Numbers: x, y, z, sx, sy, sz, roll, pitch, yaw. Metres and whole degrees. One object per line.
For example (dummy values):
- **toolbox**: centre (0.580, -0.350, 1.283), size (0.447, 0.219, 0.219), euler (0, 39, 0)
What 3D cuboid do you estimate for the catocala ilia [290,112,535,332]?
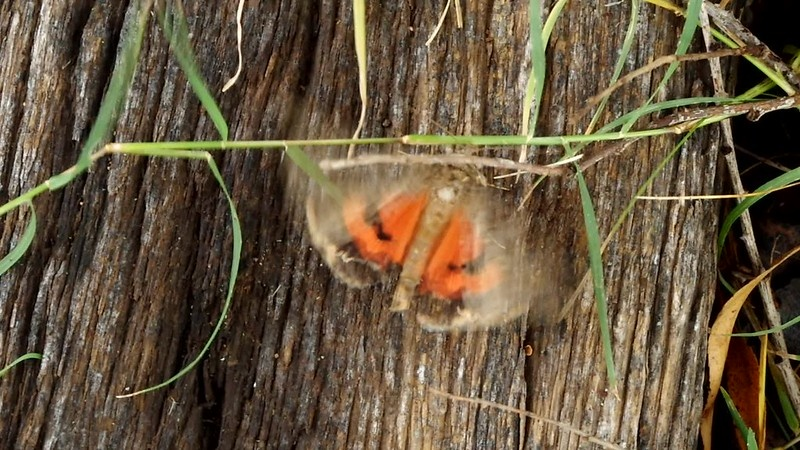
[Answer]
- **catocala ilia**: centre (0.040, 0.077, 2.831), size (0.803, 0.093, 0.538), euler (0, 83, -2)
